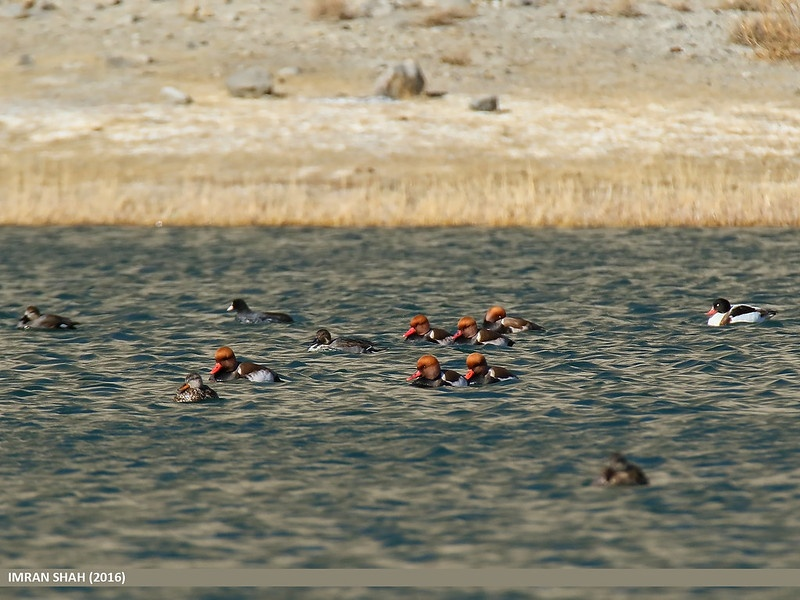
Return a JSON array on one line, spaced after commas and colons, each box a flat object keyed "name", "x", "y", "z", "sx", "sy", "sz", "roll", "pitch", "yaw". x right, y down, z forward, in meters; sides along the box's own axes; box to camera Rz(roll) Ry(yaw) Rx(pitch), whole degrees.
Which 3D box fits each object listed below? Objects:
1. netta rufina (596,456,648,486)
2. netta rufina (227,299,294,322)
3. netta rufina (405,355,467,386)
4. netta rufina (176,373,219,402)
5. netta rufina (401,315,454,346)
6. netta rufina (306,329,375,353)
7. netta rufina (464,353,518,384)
[{"name": "netta rufina", "x": 3.852, "y": 2.979, "z": 22.266, "sx": 0.892, "sy": 0.218, "sz": 0.522, "roll": 2, "pitch": 0, "yaw": -4}, {"name": "netta rufina", "x": -3.171, "y": 0.310, "z": 29.321, "sx": 1.559, "sy": 0.453, "sz": 0.821, "roll": 2, "pitch": 33, "yaw": 2}, {"name": "netta rufina", "x": 0.767, "y": 1.437, "z": 25.338, "sx": 1.214, "sy": 0.638, "sz": 0.505, "roll": 1, "pitch": 38, "yaw": 1}, {"name": "netta rufina", "x": -3.939, "y": 1.703, "z": 24.835, "sx": 0.638, "sy": 0.376, "sz": 0.767, "roll": -3, "pitch": 9, "yaw": -30}, {"name": "netta rufina", "x": 0.633, "y": 0.681, "z": 27.795, "sx": 1.083, "sy": 0.555, "sz": 0.461, "roll": 8, "pitch": 38, "yaw": 12}, {"name": "netta rufina", "x": -1.151, "y": 0.896, "z": 27.384, "sx": 1.600, "sy": 0.440, "sz": 0.504, "roll": 3, "pitch": -3, "yaw": 12}, {"name": "netta rufina", "x": 1.785, "y": 1.367, "z": 25.428, "sx": 0.951, "sy": 0.563, "sz": 0.520, "roll": -11, "pitch": 38, "yaw": -16}]
